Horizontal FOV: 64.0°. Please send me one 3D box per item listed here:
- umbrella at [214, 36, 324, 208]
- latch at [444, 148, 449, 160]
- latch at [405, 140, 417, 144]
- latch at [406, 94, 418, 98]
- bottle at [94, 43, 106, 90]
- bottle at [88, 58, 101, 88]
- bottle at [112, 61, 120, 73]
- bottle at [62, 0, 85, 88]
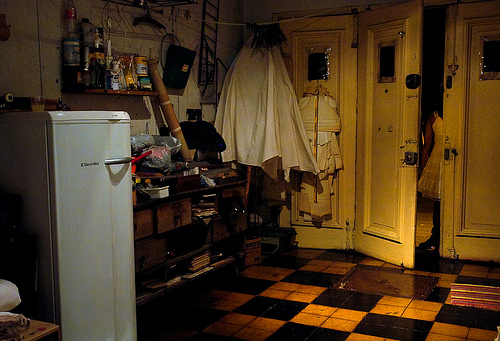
[{"bbox_3d":[0.165,-0.684,5.124,1.114,2.096,0.743,-4,8,-28],"label":"umbrella"},{"bbox_3d":[2.590,-0.208,5.225,0.052,0.146,0.028,4,8,29],"label":"latch"},{"bbox_3d":[1.982,-0.345,4.889,0.135,0.043,0.026,5,9,33],"label":"latch"},{"bbox_3d":[1.989,-0.905,4.861,0.149,0.033,0.062,6,19,40],"label":"latch"},{"bbox_3d":[-1.344,-0.926,3.583,0.095,0.408,0.182,-3,8,-18],"label":"bottle"},{"bbox_3d":[-1.371,-0.860,3.523,0.111,0.256,0.042,-6,9,-37],"label":"bottle"},{"bbox_3d":[-1.254,-0.968,3.737,0.037,0.113,0.099,0,8,6],"label":"bottle"},{"bbox_3d":[-1.553,-1.099,3.457,0.180,0.766,0.220,-4,8,-27],"label":"bottle"}]
